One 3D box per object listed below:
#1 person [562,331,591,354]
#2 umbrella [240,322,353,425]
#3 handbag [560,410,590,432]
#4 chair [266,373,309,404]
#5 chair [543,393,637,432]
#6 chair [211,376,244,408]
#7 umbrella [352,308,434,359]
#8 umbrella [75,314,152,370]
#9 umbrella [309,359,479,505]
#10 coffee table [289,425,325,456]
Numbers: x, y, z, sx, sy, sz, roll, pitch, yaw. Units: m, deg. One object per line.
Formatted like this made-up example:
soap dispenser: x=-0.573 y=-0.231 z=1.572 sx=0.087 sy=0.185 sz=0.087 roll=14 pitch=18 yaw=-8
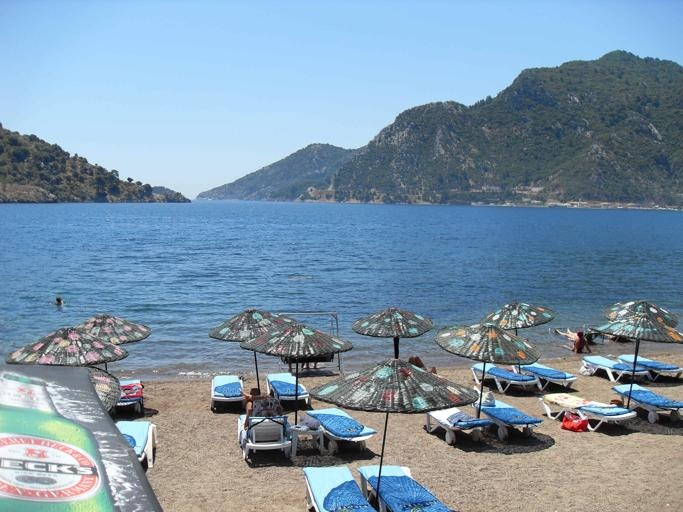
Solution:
person: x=9.528 y=3.390 z=25.849 sx=0.846 sy=0.444 sz=1.123 roll=-1 pitch=6 yaw=6
umbrella: x=-1.140 y=2.548 z=16.148 sx=2.818 sy=1.451 sz=2.607 roll=1 pitch=-3 yaw=4
handbag: x=5.892 y=4.238 z=16.543 sx=0.459 sy=0.148 sz=0.571 roll=-1 pitch=3 yaw=-28
chair: x=-1.558 y=3.639 z=18.258 sx=0.974 sy=0.310 sz=1.645 roll=1 pitch=14 yaw=-18
chair: x=6.290 y=4.039 z=16.925 sx=0.987 sy=0.308 sz=1.632 roll=-3 pitch=1 yaw=-34
chair: x=-3.157 y=3.748 z=18.054 sx=0.934 sy=0.327 sz=1.371 roll=1 pitch=12 yaw=-10
umbrella: x=1.481 y=2.146 z=17.859 sx=2.342 sy=1.091 sz=1.887 roll=-2 pitch=5 yaw=-2
umbrella: x=-6.205 y=2.368 z=17.812 sx=2.052 sy=1.095 sz=1.882 roll=2 pitch=4 yaw=-39
umbrella: x=0.961 y=2.940 z=12.024 sx=2.851 sy=1.707 sz=2.441 roll=7 pitch=4 yaw=22
coffee table: x=-0.821 y=4.281 z=15.142 sx=0.909 sy=0.462 sz=0.735 roll=1 pitch=-12 yaw=-10
